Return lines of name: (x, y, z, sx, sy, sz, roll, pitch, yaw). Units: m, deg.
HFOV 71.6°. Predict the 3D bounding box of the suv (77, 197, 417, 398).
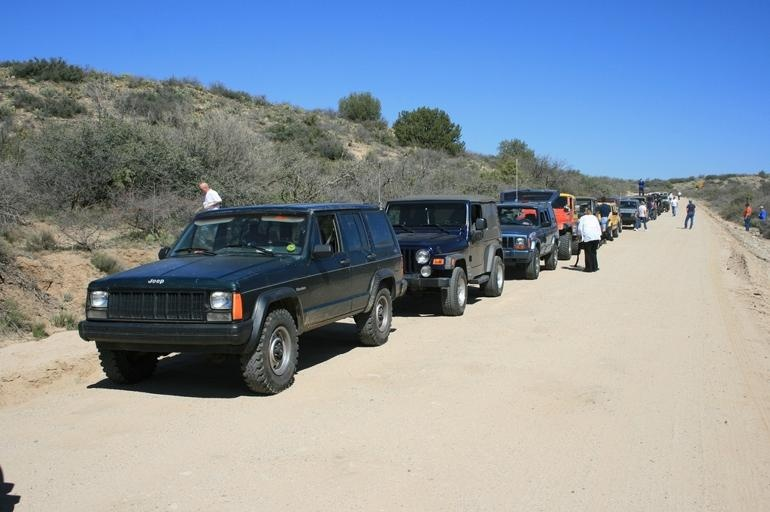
suv: (-1.704, 0.384, 8.475, 2.535, 1.995, 4.750, -1, 0, 21)
